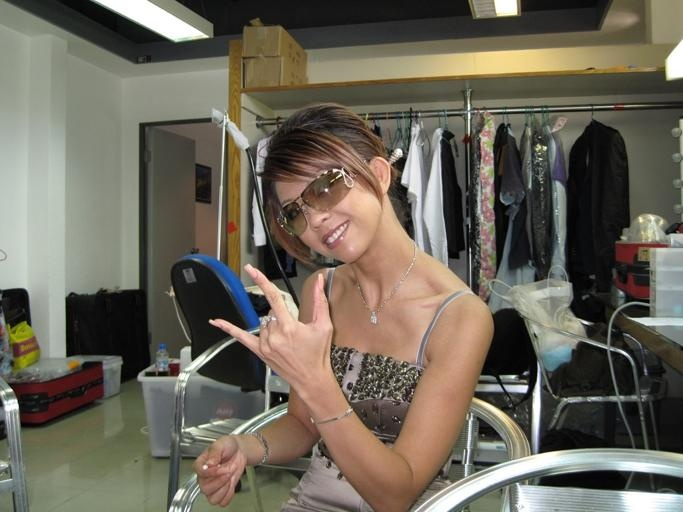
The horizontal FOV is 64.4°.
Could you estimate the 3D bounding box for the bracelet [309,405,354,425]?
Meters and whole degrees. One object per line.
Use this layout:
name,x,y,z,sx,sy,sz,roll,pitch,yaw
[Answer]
bracelet,-0.024,0.413,1.406,0.107,0.050,0.027,0,5,4

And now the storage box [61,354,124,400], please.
storage box,-2.095,1.002,4.518,0.448,0.308,0.340,0,-1,12

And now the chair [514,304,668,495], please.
chair,1.201,0.605,2.531,0.437,0.709,0.463,-14,-36,29

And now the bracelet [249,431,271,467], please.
bracelet,-0.236,0.582,1.650,0.024,0.084,0.072,-15,-8,-25

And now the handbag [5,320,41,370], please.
handbag,-2.402,0.666,4.033,0.143,0.329,0.297,0,6,4

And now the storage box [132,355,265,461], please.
storage box,-0.809,0.779,3.004,0.643,0.632,0.868,3,-8,-25

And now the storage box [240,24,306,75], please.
storage box,-0.530,-1.751,4.536,0.343,0.231,0.609,8,15,20

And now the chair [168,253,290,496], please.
chair,-0.513,0.564,2.875,0.571,1.041,0.652,-13,-10,34

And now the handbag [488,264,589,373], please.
handbag,1.025,0.289,2.697,0.386,0.479,0.256,-10,-10,13
